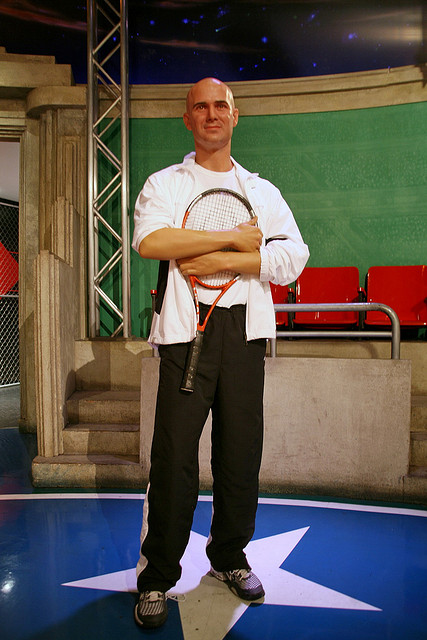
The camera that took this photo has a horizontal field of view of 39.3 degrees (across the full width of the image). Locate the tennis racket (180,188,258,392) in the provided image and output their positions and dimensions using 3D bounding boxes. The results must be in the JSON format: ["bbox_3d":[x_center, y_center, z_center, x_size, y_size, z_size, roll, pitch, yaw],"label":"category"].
[{"bbox_3d":[-0.030,-0.133,2.212,0.297,0.774,0.040,13,-2,0],"label":"tennis racket"}]

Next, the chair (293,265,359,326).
[{"bbox_3d":[1.054,-0.254,5.474,0.586,0.567,0.441,7,-4,6],"label":"chair"}]
